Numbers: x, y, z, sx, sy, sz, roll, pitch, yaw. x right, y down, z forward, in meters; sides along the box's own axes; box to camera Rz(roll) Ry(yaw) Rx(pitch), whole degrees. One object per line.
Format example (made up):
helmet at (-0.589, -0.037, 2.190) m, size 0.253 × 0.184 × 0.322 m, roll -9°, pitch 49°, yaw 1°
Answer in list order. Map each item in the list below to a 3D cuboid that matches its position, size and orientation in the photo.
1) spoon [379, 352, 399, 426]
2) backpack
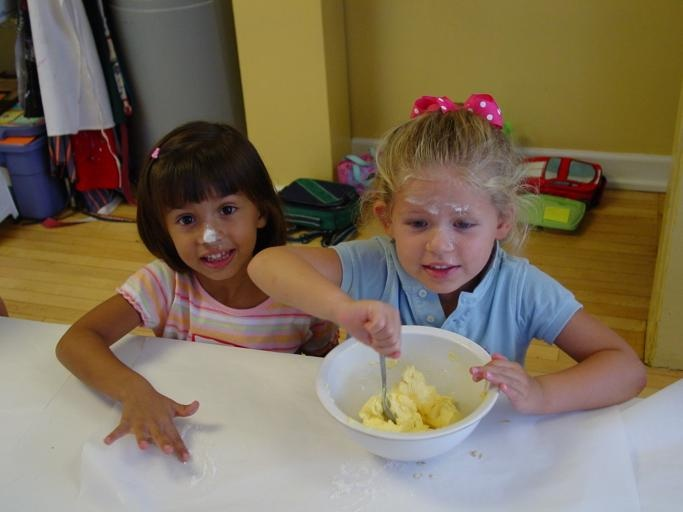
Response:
spoon at (0.085, 0.250, 1.021) m, size 0.021 × 0.146 × 0.019 m, roll 0°, pitch -5°, yaw -23°
backpack at (-0.125, -0.245, 2.898) m, size 0.323 × 0.137 × 0.354 m, roll 11°, pitch 34°, yaw 17°
